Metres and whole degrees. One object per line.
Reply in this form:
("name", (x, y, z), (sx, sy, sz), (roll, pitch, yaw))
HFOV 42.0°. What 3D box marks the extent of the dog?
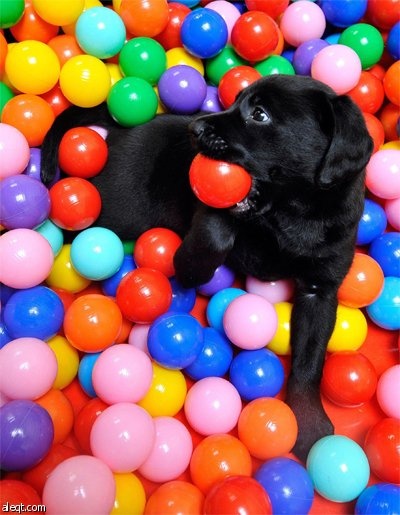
("dog", (0.074, -0.376, 2.754), (1.319, 1.210, 2.411), (-3, 27, -37))
